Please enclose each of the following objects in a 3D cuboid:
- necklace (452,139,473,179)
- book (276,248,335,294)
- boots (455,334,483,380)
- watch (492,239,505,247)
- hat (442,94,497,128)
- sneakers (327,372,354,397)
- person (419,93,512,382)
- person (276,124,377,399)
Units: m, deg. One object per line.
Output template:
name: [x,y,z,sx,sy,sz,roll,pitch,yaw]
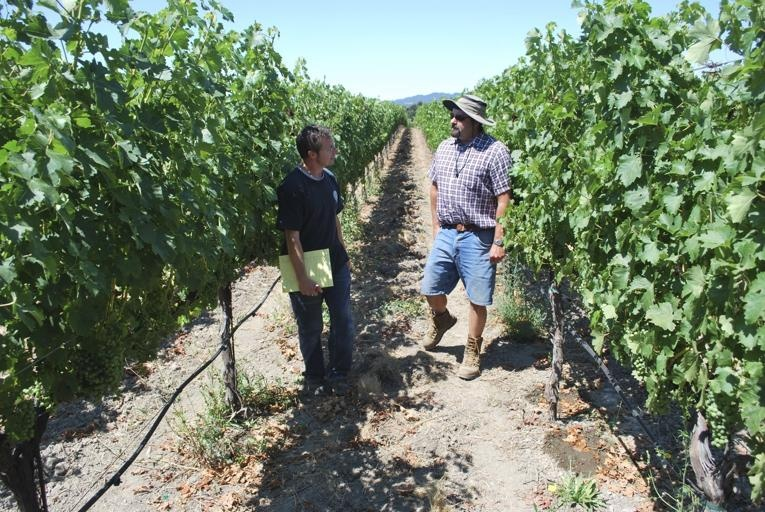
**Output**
necklace: [0.766,-0.949,5.574,0.171,0.330,0.163,5,-19,9]
book: [-0.685,0.142,5.029,0.483,0.404,0.047,2,-20,-11]
boots: [0.880,1.005,5.733,0.177,0.339,0.515,4,9,21]
watch: [1.100,-0.123,5.458,0.090,0.073,0.045,-2,13,-1]
hat: [0.837,-1.424,5.611,0.467,0.305,0.518,-1,14,6]
sneakers: [-0.425,1.244,5.587,0.157,0.086,0.252,2,16,-10]
person: [0.824,-0.171,5.677,1.005,2.752,0.554,9,17,40]
person: [-0.604,0.082,5.260,0.456,2.508,0.794,7,16,34]
